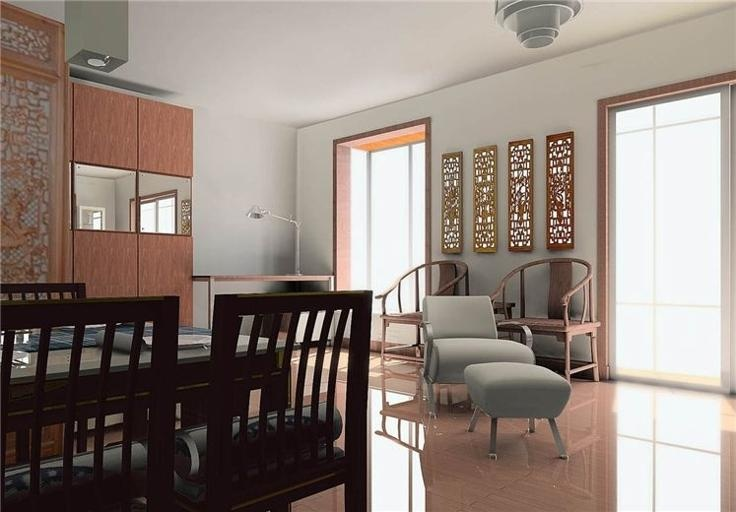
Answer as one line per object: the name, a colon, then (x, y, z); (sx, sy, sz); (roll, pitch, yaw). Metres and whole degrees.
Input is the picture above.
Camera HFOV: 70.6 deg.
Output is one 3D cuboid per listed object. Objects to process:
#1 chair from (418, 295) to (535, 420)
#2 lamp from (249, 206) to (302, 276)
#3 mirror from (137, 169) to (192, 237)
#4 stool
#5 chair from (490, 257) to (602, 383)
chair: (0.916, 0.747, 4.221); (0.809, 0.996, 0.888); (1, -10, -10)
lamp: (-1.312, -0.225, 7.413); (0.431, 0.965, 0.949); (1, 2, 39)
mirror: (-2.340, -0.591, 5.906); (0.757, 0.854, 0.044); (4, -6, -44)
stool: (0.918, 0.935, 3.247); (0.568, 0.481, 0.426); (0, 1, 2)
chair: (1.693, 0.597, 4.829); (0.844, 1.437, 1.036); (9, -9, -44)
